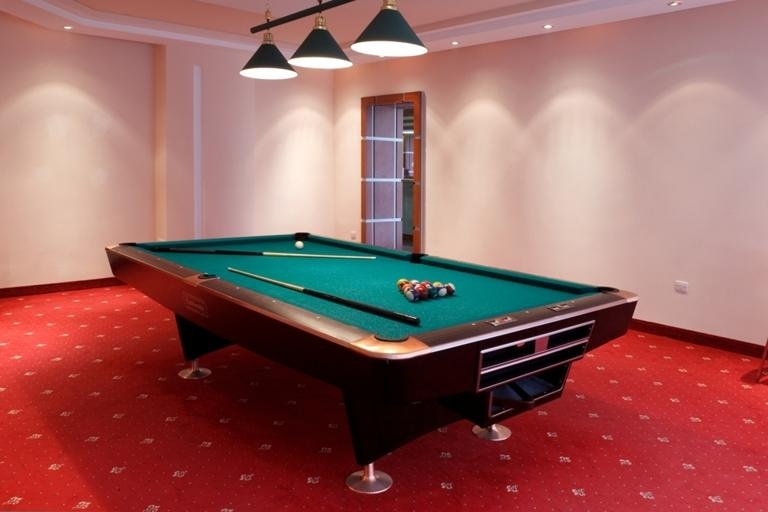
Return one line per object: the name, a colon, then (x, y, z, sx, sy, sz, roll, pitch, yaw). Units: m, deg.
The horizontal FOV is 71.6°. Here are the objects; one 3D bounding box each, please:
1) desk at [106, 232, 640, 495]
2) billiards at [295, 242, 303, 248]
desk: (0.253, 0.397, 3.304, 1.797, 0.821, 3.268, -13, 17, -41)
billiards: (-0.760, -0.103, 4.817, 0.068, 0.044, 0.063, -5, 4, -26)
